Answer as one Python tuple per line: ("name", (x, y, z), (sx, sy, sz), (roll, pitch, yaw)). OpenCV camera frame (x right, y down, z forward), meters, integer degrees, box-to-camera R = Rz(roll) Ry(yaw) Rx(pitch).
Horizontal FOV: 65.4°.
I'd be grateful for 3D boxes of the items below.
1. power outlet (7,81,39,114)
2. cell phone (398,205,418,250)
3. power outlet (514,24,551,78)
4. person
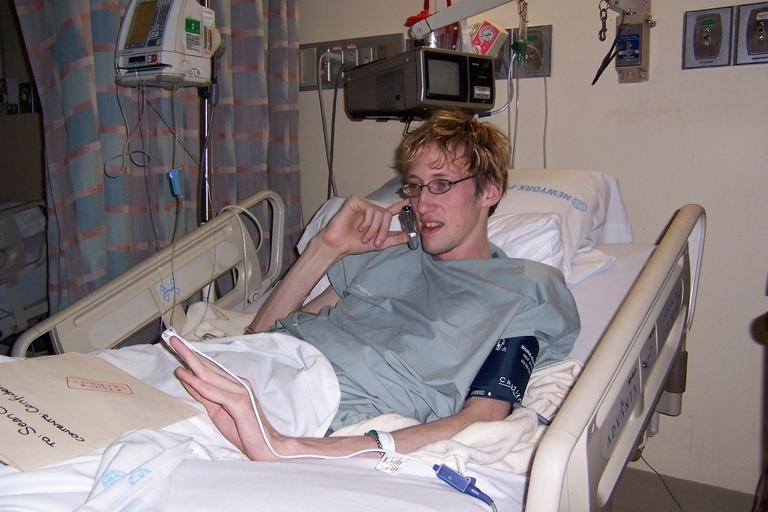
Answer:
("power outlet", (-2.002, -0.870, 3.341), (0.211, 0.219, 0.051), (3, 13, -1))
("cell phone", (0.098, -0.106, 2.272), (0.098, 0.101, 0.102), (-22, 40, 0))
("power outlet", (0.698, -0.951, 2.764), (0.169, 0.228, 0.056), (4, 18, 13))
("person", (0.124, 0.199, 2.154), (1.352, 0.956, 0.940), (-5, 32, -46))
